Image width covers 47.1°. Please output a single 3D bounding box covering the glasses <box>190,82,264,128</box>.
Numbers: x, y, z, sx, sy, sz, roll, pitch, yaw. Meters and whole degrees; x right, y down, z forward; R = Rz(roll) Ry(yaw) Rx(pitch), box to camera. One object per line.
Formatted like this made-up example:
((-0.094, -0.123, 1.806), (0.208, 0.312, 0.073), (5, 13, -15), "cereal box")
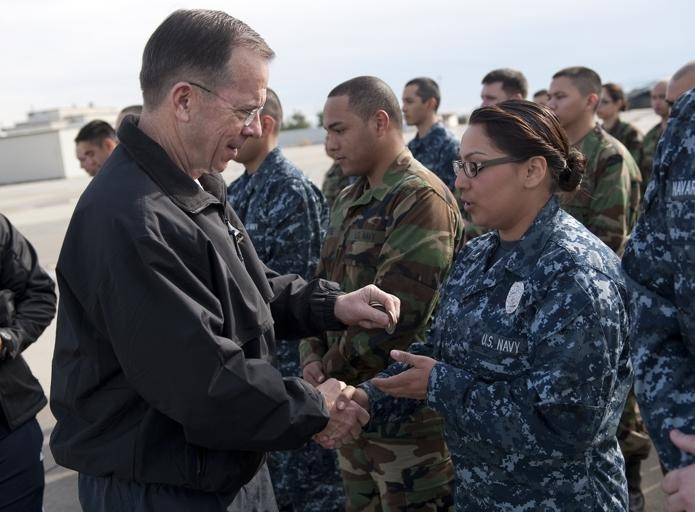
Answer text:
((-0.528, -0.679, 3.515), (0.236, 0.064, 0.181), (35, 0, -17), "glasses")
